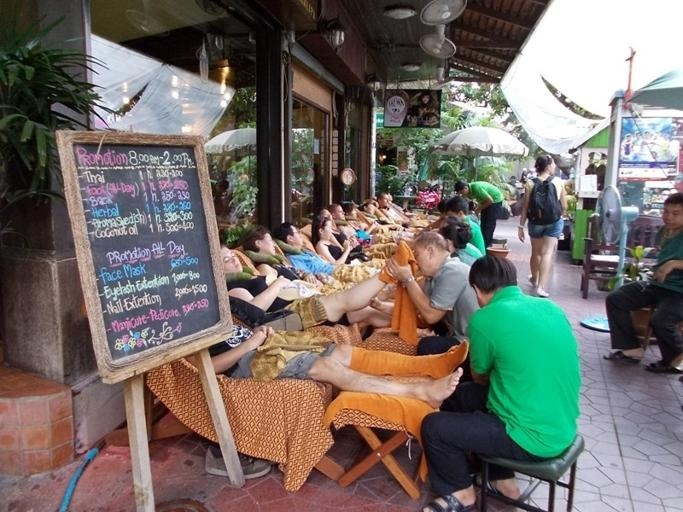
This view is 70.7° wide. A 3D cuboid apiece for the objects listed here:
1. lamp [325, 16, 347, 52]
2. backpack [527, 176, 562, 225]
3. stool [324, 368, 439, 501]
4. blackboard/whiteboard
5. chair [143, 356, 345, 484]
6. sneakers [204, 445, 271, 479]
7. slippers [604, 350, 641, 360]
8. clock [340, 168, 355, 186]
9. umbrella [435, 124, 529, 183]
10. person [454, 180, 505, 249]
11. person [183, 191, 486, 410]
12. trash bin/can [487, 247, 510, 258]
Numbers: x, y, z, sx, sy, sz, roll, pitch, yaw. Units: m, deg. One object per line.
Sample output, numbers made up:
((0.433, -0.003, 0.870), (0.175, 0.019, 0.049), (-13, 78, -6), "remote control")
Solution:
((-0.087, -2.907, 6.327), (0.251, 0.371, 0.613), (-2, 10, -1), "lamp")
((2.635, -0.718, 6.265), (0.406, 0.631, 0.298), (3, 11, 25), "backpack")
((0.243, 1.009, 2.917), (0.606, 0.461, 0.602), (2, 4, 22), "stool")
((-0.945, -0.044, 2.429), (0.716, 1.137, 0.407), (-9, 13, -36), "blackboard/whiteboard")
((-0.567, 0.941, 2.864), (0.970, 0.546, 0.677), (3, 2, 12), "chair")
((-0.634, 1.241, 2.894), (0.277, 0.103, 0.167), (0, -4, 4), "sneakers")
((2.576, 0.935, 4.451), (0.258, 0.075, 0.096), (3, 4, 21), "slippers")
((0.048, -1.553, 9.440), (0.102, 0.388, 0.409), (4, 2, 38), "clock")
((3.074, -2.304, 10.556), (1.289, 0.758, 1.286), (12, 19, 29), "umbrella")
((2.213, -0.690, 7.649), (0.754, 1.025, 0.520), (-4, 7, 11), "person")
((-0.092, 0.388, 3.189), (1.808, 0.854, 0.797), (3, 16, 2), "person")
((2.013, -0.055, 6.244), (0.225, 0.119, 0.222), (1, 5, 27), "trash bin/can")
